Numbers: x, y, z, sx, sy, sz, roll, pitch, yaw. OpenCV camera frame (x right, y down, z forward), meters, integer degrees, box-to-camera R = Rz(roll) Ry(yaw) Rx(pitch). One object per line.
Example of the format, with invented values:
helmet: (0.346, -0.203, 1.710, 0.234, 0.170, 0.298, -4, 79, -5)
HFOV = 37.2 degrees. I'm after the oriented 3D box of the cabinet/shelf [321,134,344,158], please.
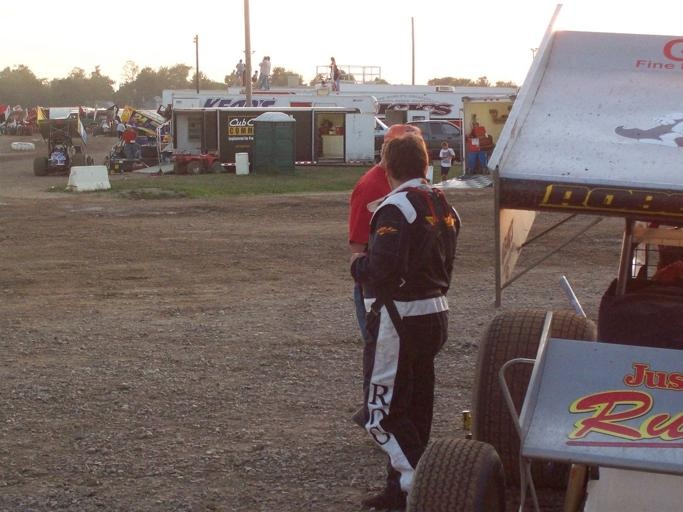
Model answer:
cabinet/shelf: (-0.262, -3.439, 30.443, 0.738, 0.636, 0.362, 1, 14, 1)
